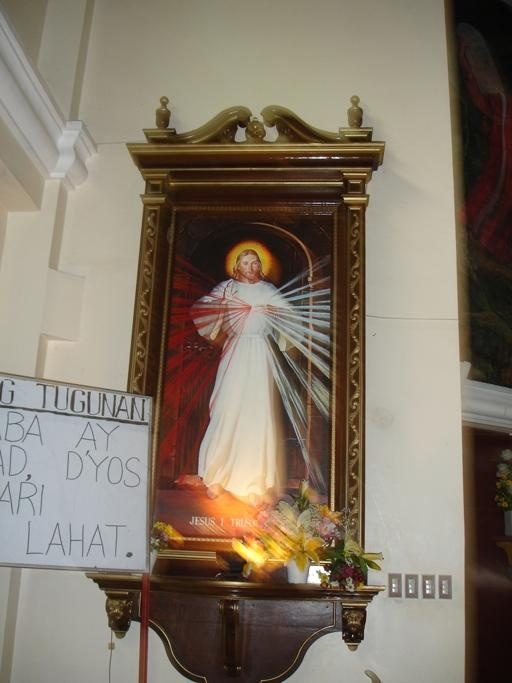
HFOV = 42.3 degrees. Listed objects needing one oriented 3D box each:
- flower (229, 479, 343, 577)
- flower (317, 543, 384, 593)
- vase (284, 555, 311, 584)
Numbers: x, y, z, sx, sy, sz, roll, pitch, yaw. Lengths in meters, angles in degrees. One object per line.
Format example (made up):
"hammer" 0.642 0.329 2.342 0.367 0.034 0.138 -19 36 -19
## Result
"flower" 0.086 0.614 2.063 0.324 0.219 0.134 -9 -23 27
"flower" 0.285 0.669 1.989 0.178 0.146 0.118 0 -20 6
"vase" 0.130 0.679 1.967 0.064 0.054 0.070 2 -13 3
